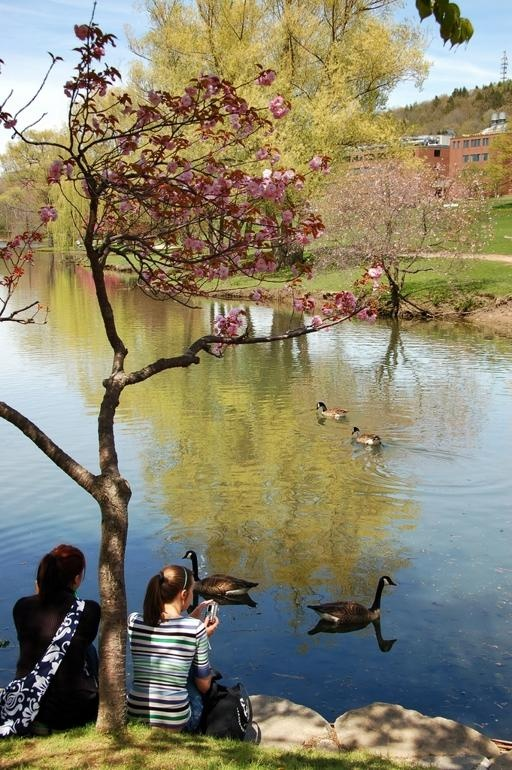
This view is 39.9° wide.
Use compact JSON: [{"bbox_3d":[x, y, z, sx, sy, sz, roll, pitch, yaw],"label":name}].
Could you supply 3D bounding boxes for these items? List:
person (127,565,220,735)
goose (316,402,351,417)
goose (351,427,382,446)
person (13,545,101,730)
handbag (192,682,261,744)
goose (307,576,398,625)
[{"bbox_3d":[-0.684,2.077,5.435,0.662,1.506,0.346,-2,14,-6],"label":"person"},{"bbox_3d":[2.075,0.723,19.348,0.530,0.315,1.222,-9,15,-38],"label":"goose"},{"bbox_3d":[2.624,1.269,16.740,0.319,0.451,0.768,2,5,-35],"label":"goose"},{"bbox_3d":[-1.511,2.004,5.421,0.646,1.543,0.435,-6,15,-22],"label":"person"},{"bbox_3d":[-0.252,2.790,5.994,0.510,0.380,0.553,12,48,-9],"label":"handbag"},{"bbox_3d":[1.214,2.760,9.025,1.125,0.591,0.359,1,-6,-8],"label":"goose"}]
